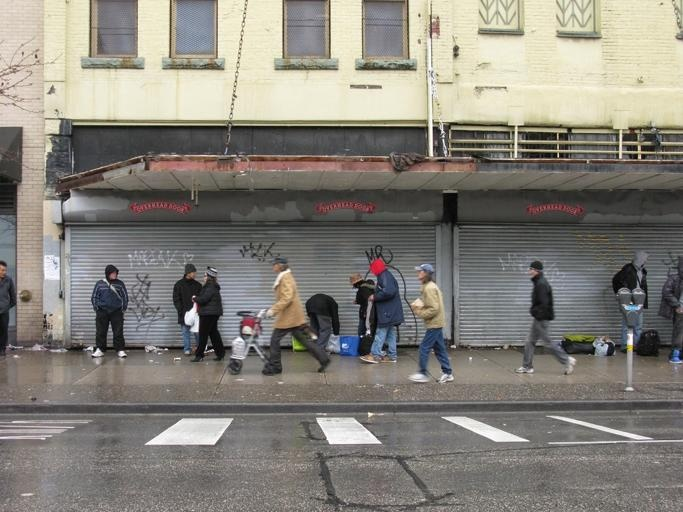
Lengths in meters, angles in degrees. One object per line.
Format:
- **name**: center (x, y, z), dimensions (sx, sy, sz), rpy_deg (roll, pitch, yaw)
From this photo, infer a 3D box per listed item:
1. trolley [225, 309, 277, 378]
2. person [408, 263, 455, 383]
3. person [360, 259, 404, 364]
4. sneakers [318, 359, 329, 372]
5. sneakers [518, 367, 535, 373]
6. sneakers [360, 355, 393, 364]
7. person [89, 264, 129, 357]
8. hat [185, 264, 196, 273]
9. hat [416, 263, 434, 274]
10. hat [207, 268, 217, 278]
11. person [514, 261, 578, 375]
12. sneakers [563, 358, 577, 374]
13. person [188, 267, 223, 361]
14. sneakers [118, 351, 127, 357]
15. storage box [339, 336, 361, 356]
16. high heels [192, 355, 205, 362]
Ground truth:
- **trolley**: center (-1.822, 1.691, 24.710), dimensions (1.039, 1.113, 0.953), rpy_deg (3, -1, -1)
- **person**: center (1.700, 1.280, 23.754), dimensions (0.843, 2.234, 0.753), rpy_deg (-1, -1, 4)
- **person**: center (0.867, 1.142, 25.975), dimensions (0.789, 2.137, 1.485), rpy_deg (-1, -1, 2)
- **sneakers**: center (-0.380, 2.138, 24.324), dimensions (0.090, 0.156, 0.322), rpy_deg (-40, -2, -4)
- **sneakers**: center (3.648, 2.258, 24.528), dimensions (0.352, 0.121, 0.116), rpy_deg (3, -1, 2)
- **sneakers**: center (0.691, 2.150, 25.710), dimensions (0.714, 0.234, 0.221), rpy_deg (8, -7, -18)
- **person**: center (-4.993, 1.167, 26.330), dimensions (0.731, 1.966, 0.591), rpy_deg (-1, -1, -10)
- **hat**: center (-3.263, 0.257, 26.427), dimensions (0.234, 0.147, 0.153), rpy_deg (-5, 1, 2)
- **hat**: center (1.583, 0.234, 23.752), dimensions (0.311, 0.101, 0.182), rpy_deg (4, 3, 15)
- **hat**: center (-2.774, 0.339, 25.969), dimensions (0.219, 0.150, 0.221), rpy_deg (11, 0, -33)
- **person**: center (3.962, 1.206, 24.382), dimensions (0.758, 2.211, 0.926), rpy_deg (0, -1, -27)
- **sneakers**: center (4.480, 2.133, 24.167), dimensions (0.165, 0.334, 0.206), rpy_deg (22, -19, -13)
- **person**: center (-2.833, 1.206, 25.880), dimensions (0.567, 1.969, 0.820), rpy_deg (-1, -1, 22)
- **sneakers**: center (-4.720, 2.075, 26.334), dimensions (0.141, 0.080, 0.223), rpy_deg (2, -5, -24)
- **storage box**: center (0.167, 1.929, 26.511), dimensions (0.453, 0.329, 0.153), rpy_deg (-5, -20, 22)
- **high heels**: center (-3.026, 2.134, 25.756), dimensions (0.227, 0.079, 0.106), rpy_deg (3, -3, -4)
